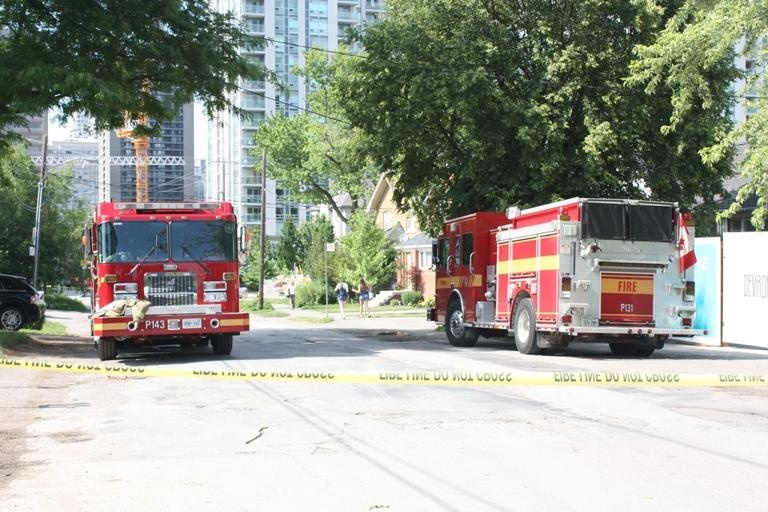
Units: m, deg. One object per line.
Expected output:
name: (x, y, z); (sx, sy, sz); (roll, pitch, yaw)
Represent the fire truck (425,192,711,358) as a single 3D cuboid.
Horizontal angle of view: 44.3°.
fire truck: (4.739, 0.698, 27.464); (4.159, 3.650, 8.830); (2, -1, -17)
